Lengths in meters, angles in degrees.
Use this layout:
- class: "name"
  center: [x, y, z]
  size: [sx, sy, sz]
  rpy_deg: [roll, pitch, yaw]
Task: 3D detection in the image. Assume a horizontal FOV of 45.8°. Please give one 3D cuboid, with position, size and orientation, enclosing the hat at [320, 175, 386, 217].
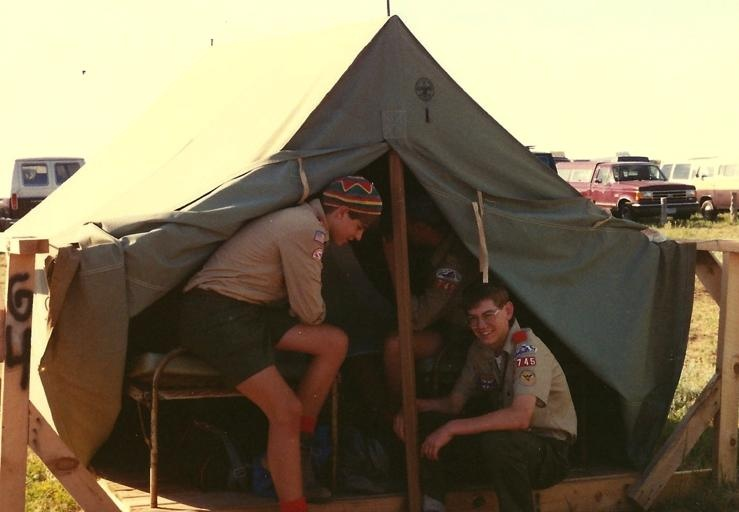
- class: "hat"
  center: [-0.111, -0.390, 5.552]
  size: [0.310, 0.213, 0.233]
  rpy_deg: [13, 6, -1]

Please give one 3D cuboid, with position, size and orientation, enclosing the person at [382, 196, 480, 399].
- class: "person"
  center: [0.432, 0.401, 6.587]
  size: [0.825, 1.750, 0.717]
  rpy_deg: [-4, 14, -8]

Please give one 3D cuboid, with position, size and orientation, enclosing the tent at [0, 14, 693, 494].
- class: "tent"
  center: [-0.109, -0.384, 6.298]
  size: [3.353, 2.296, 3.478]
  rpy_deg: [-4, 10, -20]

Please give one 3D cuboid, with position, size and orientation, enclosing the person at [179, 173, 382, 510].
- class: "person"
  center: [-0.556, 0.492, 5.390]
  size: [1.203, 2.016, 0.563]
  rpy_deg: [0, 0, -15]
